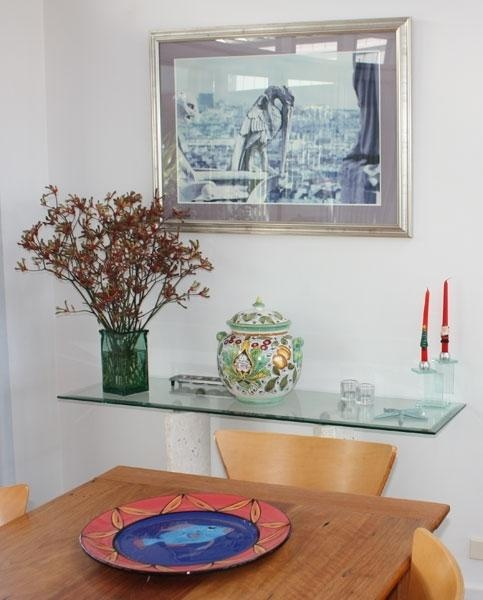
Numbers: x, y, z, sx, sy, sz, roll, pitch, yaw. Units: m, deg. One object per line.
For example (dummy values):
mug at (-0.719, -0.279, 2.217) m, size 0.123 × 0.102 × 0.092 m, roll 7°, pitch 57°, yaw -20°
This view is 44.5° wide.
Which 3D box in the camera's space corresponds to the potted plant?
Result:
potted plant at (-0.430, 0.030, 2.127) m, size 0.533 × 0.593 × 0.518 m, roll 5°, pitch 4°, yaw 39°

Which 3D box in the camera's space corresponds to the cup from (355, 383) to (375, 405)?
cup at (0.402, 0.300, 1.908) m, size 0.066 × 0.065 × 0.064 m, roll 0°, pitch 3°, yaw 0°

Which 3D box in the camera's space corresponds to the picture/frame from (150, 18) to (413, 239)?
picture/frame at (0.175, -0.618, 2.074) m, size 0.937 × 0.626 × 0.033 m, roll 1°, pitch 5°, yaw 11°

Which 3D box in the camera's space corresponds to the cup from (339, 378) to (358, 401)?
cup at (0.355, 0.298, 1.977) m, size 0.065 × 0.061 × 0.063 m, roll 1°, pitch 2°, yaw 0°

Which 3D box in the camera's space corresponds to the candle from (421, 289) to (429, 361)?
candle at (0.614, 0.086, 1.967) m, size 0.033 × 0.247 × 0.112 m, roll -1°, pitch -1°, yaw 17°

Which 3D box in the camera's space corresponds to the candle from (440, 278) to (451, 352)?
candle at (0.671, 0.061, 1.945) m, size 0.030 × 0.257 × 0.091 m, roll -1°, pitch -1°, yaw 19°
